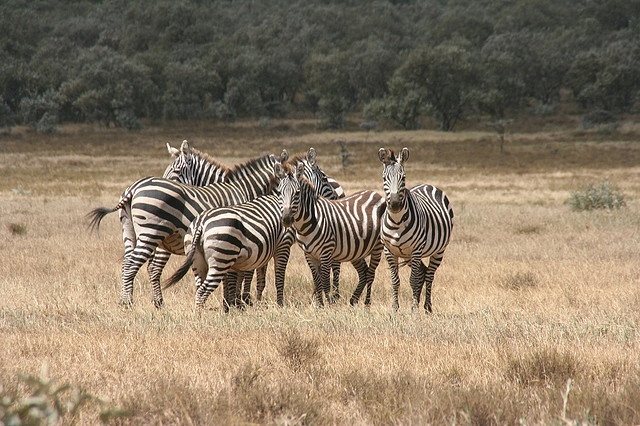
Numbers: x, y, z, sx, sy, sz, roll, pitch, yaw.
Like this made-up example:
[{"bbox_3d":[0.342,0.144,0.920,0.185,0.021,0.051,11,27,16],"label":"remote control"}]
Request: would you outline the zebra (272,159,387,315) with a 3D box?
[{"bbox_3d":[-1.694,0.585,61.346,4.861,8.746,12.812,-1,10,-3],"label":"zebra"}]
